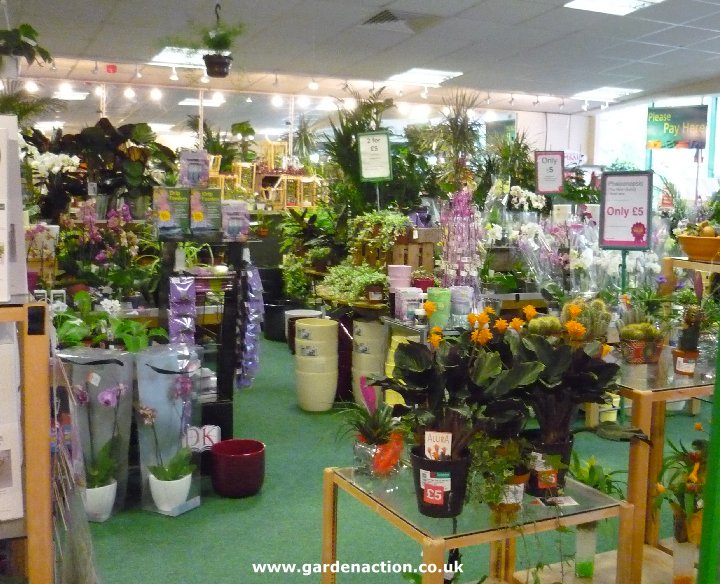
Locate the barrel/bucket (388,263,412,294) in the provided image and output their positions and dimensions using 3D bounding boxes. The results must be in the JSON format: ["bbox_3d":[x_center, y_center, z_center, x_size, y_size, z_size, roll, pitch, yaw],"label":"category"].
[{"bbox_3d":[0.290,-0.106,4.371,0.204,0.197,0.195,0,5,0],"label":"barrel/bucket"}]

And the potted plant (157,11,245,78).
[{"bbox_3d":[-2.051,-3.212,7.594,0.844,1.043,0.995,-1,7,2],"label":"potted plant"}]

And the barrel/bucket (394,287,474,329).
[{"bbox_3d":[0.505,0.104,3.973,0.435,0.167,0.277,0,5,3],"label":"barrel/bucket"}]

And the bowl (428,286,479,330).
[{"bbox_3d":[0.613,0.084,3.923,0.352,0.311,0.304,1,4,16],"label":"bowl"}]

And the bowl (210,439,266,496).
[{"bbox_3d":[-0.726,1.086,3.608,0.402,0.265,0.377,0,-10,0],"label":"bowl"}]

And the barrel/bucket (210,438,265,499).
[{"bbox_3d":[-0.710,1.047,3.456,0.351,0.226,0.321,-1,-2,0],"label":"barrel/bucket"}]

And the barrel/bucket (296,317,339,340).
[{"bbox_3d":[-0.349,0.301,4.804,0.225,0.122,0.210,-1,2,0],"label":"barrel/bucket"}]
